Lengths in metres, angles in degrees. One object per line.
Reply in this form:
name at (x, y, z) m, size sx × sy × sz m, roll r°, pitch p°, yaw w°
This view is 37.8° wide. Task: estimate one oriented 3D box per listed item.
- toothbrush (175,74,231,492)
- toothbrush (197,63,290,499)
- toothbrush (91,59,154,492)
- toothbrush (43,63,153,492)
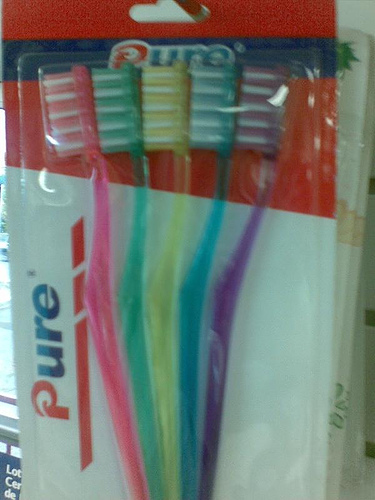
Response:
toothbrush at (0.025, 0.049, 0.708) m, size 0.090 × 0.529 × 0.027 m, roll 2°, pitch 2°, yaw 0°
toothbrush at (0.071, 0.044, 0.750) m, size 0.095 × 0.675 × 0.032 m, roll 7°, pitch 3°, yaw 0°
toothbrush at (-0.067, 0.032, 0.776) m, size 0.095 × 0.553 × 0.062 m, roll -6°, pitch 0°, yaw 1°
toothbrush at (-0.112, 0.025, 0.819) m, size 0.118 × 0.651 × 0.065 m, roll -8°, pitch 4°, yaw 4°
